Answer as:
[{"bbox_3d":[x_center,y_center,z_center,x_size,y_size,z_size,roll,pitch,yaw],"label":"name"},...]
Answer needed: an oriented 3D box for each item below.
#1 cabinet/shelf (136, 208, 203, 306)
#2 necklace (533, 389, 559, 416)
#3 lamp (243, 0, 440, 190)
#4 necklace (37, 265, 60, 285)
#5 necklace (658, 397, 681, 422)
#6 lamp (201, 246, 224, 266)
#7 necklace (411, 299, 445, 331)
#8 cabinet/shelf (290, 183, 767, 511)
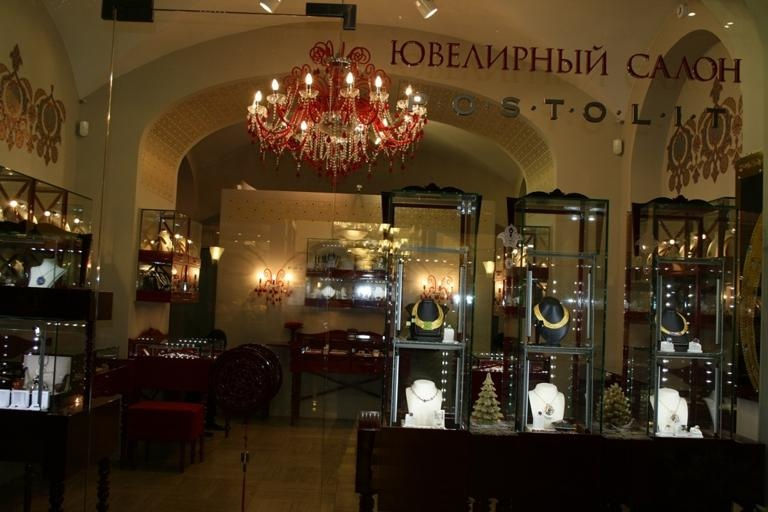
[{"bbox_3d":[-1.775,0.041,5.280,0.343,0.743,0.377,0,-6,16],"label":"cabinet/shelf"},{"bbox_3d":[1.270,1.161,5.048,0.186,0.211,0.120,1,2,-4],"label":"necklace"},{"bbox_3d":[-0.351,-1.513,6.025,1.363,2.087,1.440,1,-5,-5],"label":"lamp"},{"bbox_3d":[-2.641,0.132,5.014,0.182,0.181,0.133,2,-2,-26],"label":"necklace"},{"bbox_3d":[2.287,1.233,5.116,0.177,0.174,0.035,4,-8,-13],"label":"necklace"},{"bbox_3d":[-1.395,-0.007,5.197,0.153,0.139,0.140,0,-12,2],"label":"lamp"},{"bbox_3d":[0.355,0.494,5.196,0.281,0.323,0.204,0,-28,5],"label":"necklace"},{"bbox_3d":[1.143,0.825,5.110,2.258,2.216,0.770,0,-7,3],"label":"cabinet/shelf"}]
